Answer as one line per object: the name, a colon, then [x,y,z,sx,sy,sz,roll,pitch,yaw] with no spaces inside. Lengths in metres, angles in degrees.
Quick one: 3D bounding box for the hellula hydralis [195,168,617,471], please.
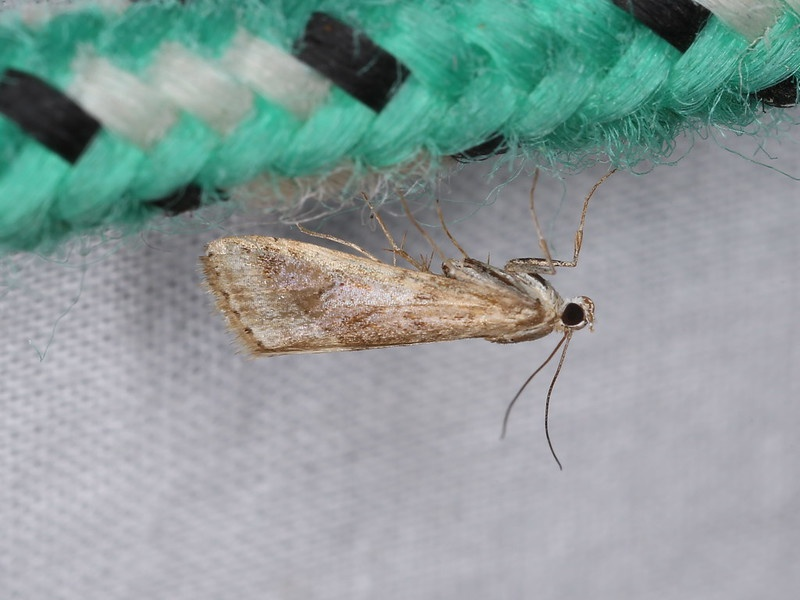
hellula hydralis: [-0.024,0.012,1.123,0.522,0.255,0.119,0,36,-7]
